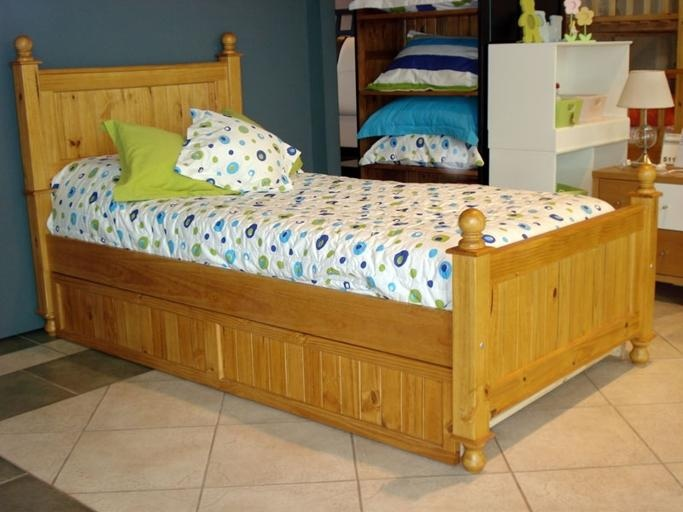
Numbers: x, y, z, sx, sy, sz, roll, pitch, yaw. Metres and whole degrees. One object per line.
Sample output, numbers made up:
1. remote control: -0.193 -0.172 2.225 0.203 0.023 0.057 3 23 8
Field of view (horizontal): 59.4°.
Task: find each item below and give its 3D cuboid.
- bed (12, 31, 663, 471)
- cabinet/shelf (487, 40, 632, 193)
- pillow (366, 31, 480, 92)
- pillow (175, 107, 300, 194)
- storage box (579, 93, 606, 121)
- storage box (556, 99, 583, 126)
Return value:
1. bed: -0.088 -0.161 3.298 3.251 1.563 1.821 8 17 33
2. cabinet/shelf: 1.430 -0.896 3.984 0.613 0.994 1.135 8 15 40
3. pillow: 0.631 -1.462 4.477 0.669 0.146 0.610 6 57 27
4. pillow: -0.564 -0.513 3.188 0.596 0.163 0.491 19 41 -12
5. storage box: 1.713 -1.000 4.091 0.244 0.145 0.140 -14 19 -43
6. storage box: 1.495 -0.909 3.892 0.169 0.146 0.244 10 18 38
